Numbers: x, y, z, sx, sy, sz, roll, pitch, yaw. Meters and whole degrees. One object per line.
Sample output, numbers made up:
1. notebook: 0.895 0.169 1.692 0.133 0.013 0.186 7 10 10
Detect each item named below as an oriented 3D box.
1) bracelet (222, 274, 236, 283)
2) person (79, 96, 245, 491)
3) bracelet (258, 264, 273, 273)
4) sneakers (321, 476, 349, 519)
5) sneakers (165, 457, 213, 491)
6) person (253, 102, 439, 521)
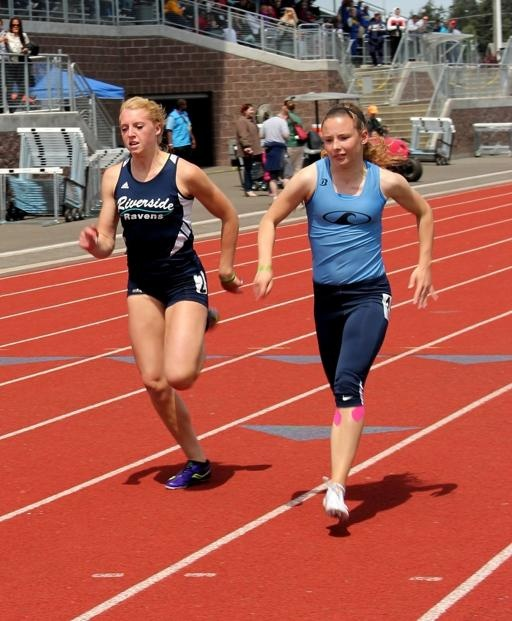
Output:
1. bracelet: -0.127 -0.156 3.069 0.051 0.034 0.049 -30 29 -24
2. person: -0.382 -0.117 2.958 0.702 1.731 0.563 -8 8 -8
3. bracelet: 0.040 -0.174 2.605 0.069 0.014 0.060 -1 24 -2
4. sneakers: 0.279 0.653 2.258 0.098 0.076 0.138 0 54 -4
5. sneakers: -0.316 0.813 3.271 0.310 0.103 0.094 -10 26 -30
6. person: 0.322 -0.081 2.620 0.622 1.533 1.027 -3 8 28
